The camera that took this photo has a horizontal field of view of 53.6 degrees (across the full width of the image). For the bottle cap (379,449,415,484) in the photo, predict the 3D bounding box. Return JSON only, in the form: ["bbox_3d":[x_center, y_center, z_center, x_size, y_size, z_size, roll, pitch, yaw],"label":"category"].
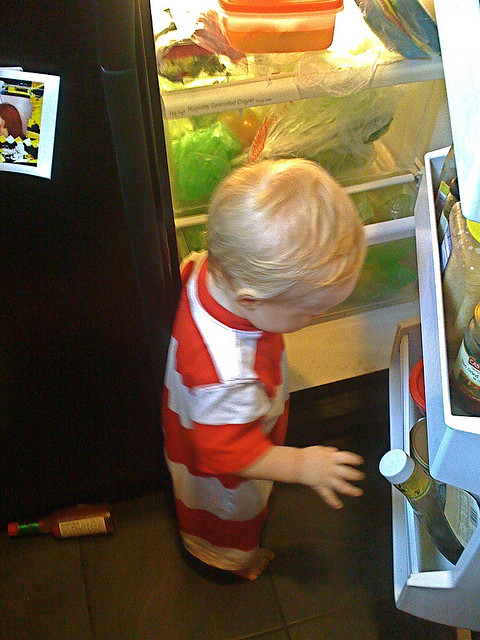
[{"bbox_3d":[0.211,0.202,0.644,0.042,0.034,0.052,-12,69,34],"label":"bottle cap"}]

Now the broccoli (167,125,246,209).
[{"bbox_3d":[-0.095,-0.323,1.136,0.134,0.135,0.165,8,74,-3],"label":"broccoli"}]

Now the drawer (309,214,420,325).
[{"bbox_3d":[0.405,-0.125,1.431,0.436,0.282,0.304,-9,-1,27],"label":"drawer"}]

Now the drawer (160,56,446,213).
[{"bbox_3d":[0.158,-0.420,1.072,0.651,0.350,0.339,-8,36,-9],"label":"drawer"}]

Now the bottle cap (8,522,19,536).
[{"bbox_3d":[-0.563,0.517,1.178,0.020,0.028,0.030,-21,64,-29],"label":"bottle cap"}]
